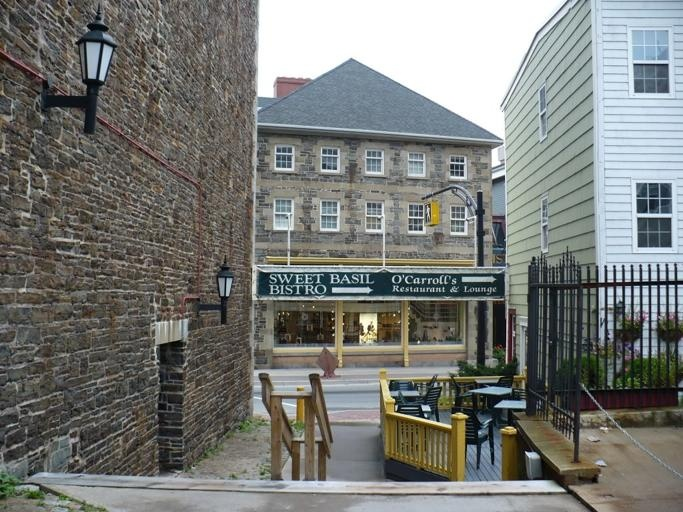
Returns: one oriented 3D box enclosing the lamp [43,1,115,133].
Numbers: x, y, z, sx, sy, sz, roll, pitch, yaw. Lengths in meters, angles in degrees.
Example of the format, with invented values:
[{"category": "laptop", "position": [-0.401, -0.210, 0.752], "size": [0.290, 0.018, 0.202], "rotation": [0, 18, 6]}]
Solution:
[{"category": "lamp", "position": [-3.170, -2.320, 7.718], "size": [0.878, 1.535, 0.957], "rotation": [3, 8, 11]}]
